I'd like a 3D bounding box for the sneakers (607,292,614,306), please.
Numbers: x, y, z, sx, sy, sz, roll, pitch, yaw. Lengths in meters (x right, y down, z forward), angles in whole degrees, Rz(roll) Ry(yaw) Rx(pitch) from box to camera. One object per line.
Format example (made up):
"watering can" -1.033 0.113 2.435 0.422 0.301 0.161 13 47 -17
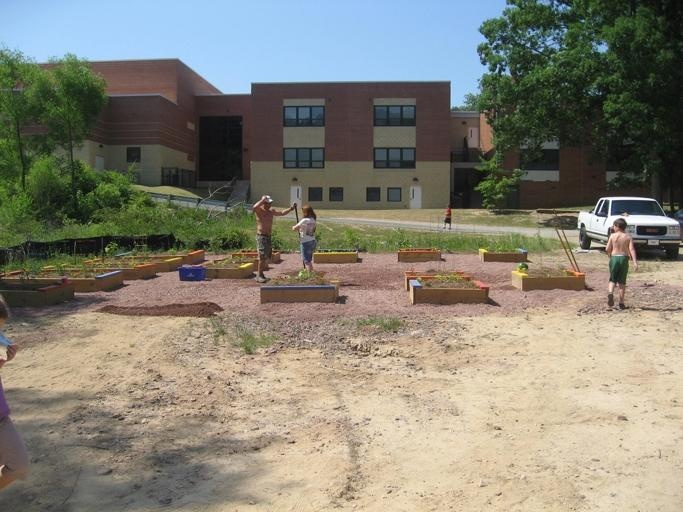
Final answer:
"sneakers" 5.517 0.882 12.976 0.137 0.291 0.121 0 12 10

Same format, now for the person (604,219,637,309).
"person" 5.720 0.157 12.985 0.547 1.823 0.713 5 15 23

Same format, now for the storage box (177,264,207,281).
"storage box" -3.909 0.432 16.746 0.565 0.275 0.384 -1 3 3
